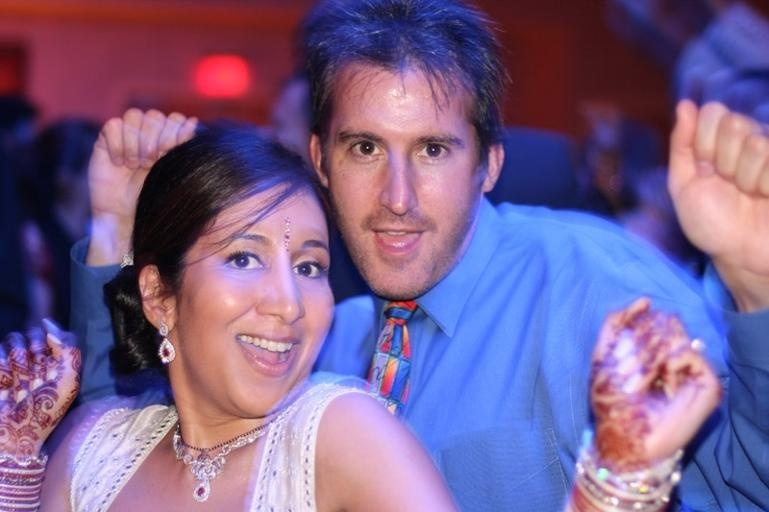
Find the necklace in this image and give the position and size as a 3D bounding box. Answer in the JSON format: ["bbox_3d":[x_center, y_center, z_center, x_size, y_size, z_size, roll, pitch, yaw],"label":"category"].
[{"bbox_3d":[-0.731,0.923,3.771,0.415,0.142,0.299,-1,39,27],"label":"necklace"}]
